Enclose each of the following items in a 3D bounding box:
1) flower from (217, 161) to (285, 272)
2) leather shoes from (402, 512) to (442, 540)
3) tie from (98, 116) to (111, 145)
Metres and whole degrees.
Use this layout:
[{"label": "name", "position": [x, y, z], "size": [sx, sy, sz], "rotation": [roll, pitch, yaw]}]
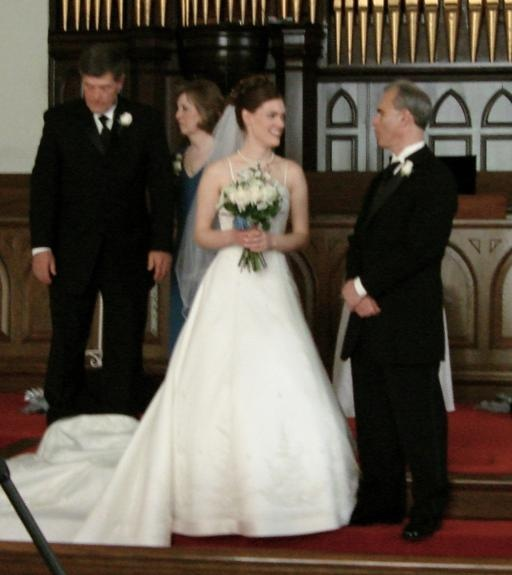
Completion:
[{"label": "flower", "position": [-0.009, -0.234, 2.898], "size": [0.229, 0.347, 0.213], "rotation": [3, -6, 15]}, {"label": "leather shoes", "position": [0.541, 0.785, 2.719], "size": [0.053, 0.060, 0.142], "rotation": [-6, -7, 36]}, {"label": "tie", "position": [-0.637, -0.664, 3.511], "size": [0.025, 0.107, 0.059], "rotation": [3, 12, 38]}]
